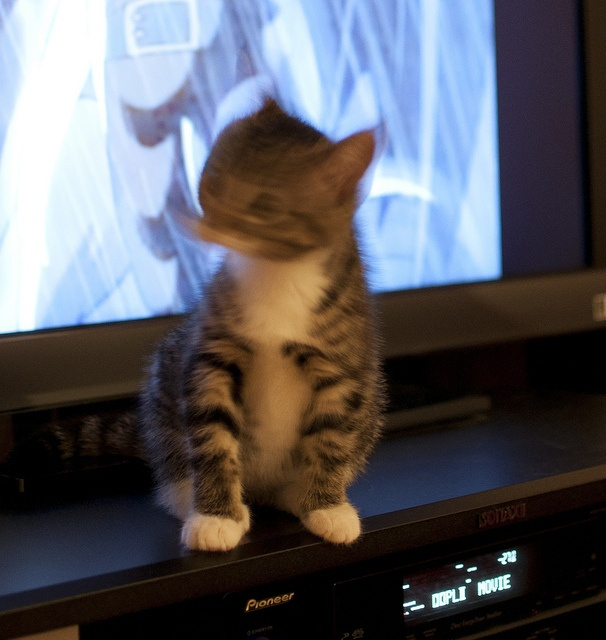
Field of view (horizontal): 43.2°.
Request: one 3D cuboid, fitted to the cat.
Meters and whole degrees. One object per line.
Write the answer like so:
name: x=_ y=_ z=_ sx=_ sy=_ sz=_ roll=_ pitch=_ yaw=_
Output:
cat: x=-0.050 y=-0.020 z=0.830 sx=0.223 sy=0.449 sz=0.274 roll=-7 pitch=22 yaw=-33
